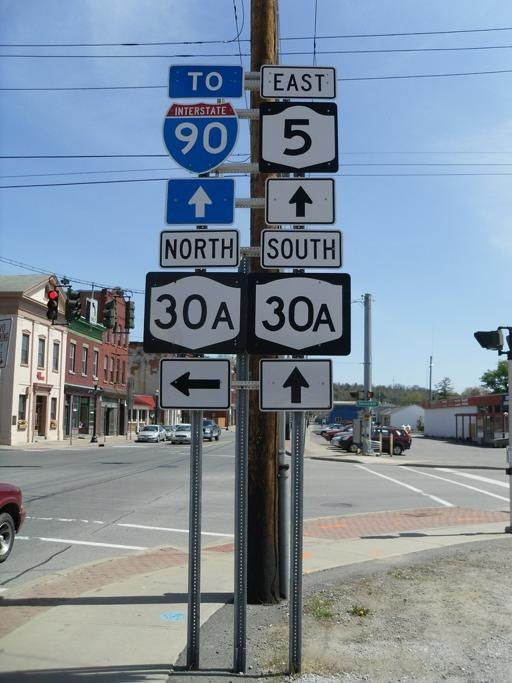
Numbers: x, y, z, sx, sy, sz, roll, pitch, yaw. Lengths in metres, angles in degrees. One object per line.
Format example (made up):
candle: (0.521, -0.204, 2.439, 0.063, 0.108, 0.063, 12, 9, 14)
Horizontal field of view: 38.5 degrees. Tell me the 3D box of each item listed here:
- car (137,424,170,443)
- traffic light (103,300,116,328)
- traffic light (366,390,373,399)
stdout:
car: (-6.785, 6.007, 47.805, 0.870, 0.840, 2.386, -1, -13, 5)
traffic light: (-4.793, -0.926, 23.854, 0.353, 1.010, 1.904, 2, -5, -13)
traffic light: (4.897, 2.288, 31.824, 0.364, 0.405, 0.278, 1, 0, -3)
